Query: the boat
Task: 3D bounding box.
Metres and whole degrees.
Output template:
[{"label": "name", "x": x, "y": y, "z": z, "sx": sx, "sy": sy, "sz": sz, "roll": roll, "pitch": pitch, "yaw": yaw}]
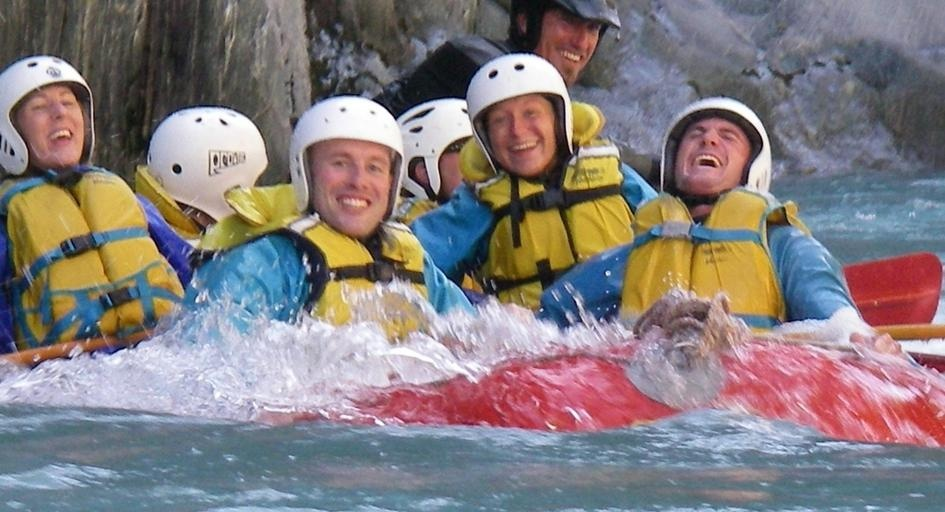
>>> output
[{"label": "boat", "x": 1.254, "y": 0.241, "z": 9.283, "sx": 7.067, "sy": 2.177, "sz": 1.815, "roll": -1, "pitch": 5, "yaw": -6}]
